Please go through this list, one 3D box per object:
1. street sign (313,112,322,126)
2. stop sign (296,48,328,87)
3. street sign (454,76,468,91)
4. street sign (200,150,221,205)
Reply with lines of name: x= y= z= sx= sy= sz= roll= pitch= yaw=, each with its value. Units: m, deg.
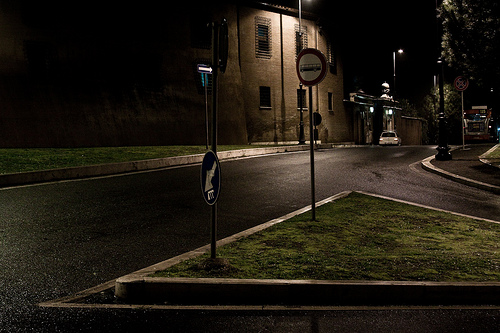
street sign: x=1.786 y=-1.234 z=12.439 sx=0.282 sy=0.294 sz=0.068 roll=-5 pitch=-2 yaw=40
stop sign: x=1.468 y=-2.408 z=11.541 sx=0.327 sy=0.882 sz=0.777 roll=-12 pitch=13 yaw=-43
street sign: x=10.894 y=-4.309 z=24.743 sx=0.592 sy=0.712 sz=1.114 roll=0 pitch=10 yaw=14
street sign: x=-0.745 y=0.214 z=9.213 sx=0.273 sy=1.076 sz=0.632 roll=-11 pitch=12 yaw=-41
